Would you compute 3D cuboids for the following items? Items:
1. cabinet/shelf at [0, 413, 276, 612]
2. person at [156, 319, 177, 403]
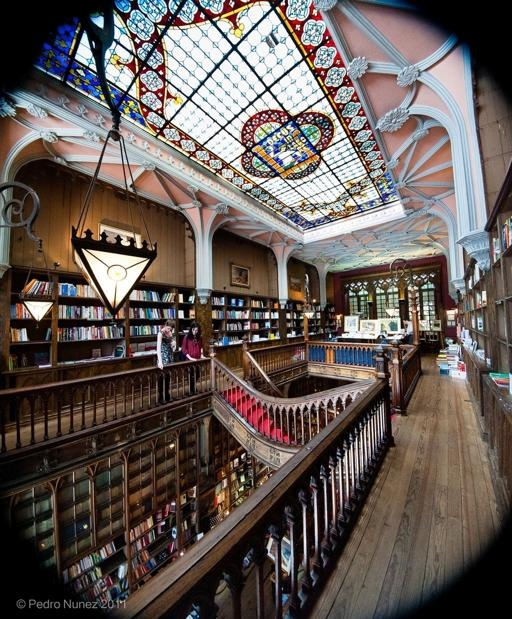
[{"bbox_3d":[-1.412,2.593,5.472,0.601,2.277,3.669,5,12,35],"label":"cabinet/shelf"},{"bbox_3d":[-1.286,0.692,5.698,0.235,1.130,0.625,-3,9,-11],"label":"person"}]
